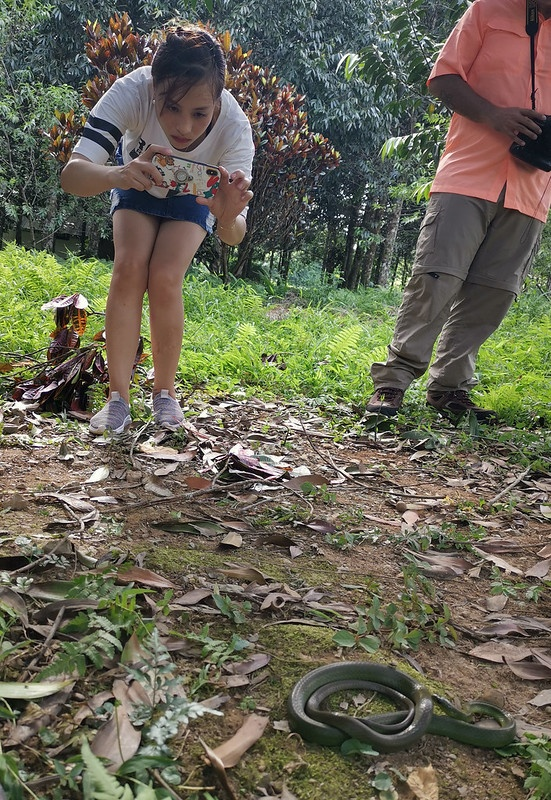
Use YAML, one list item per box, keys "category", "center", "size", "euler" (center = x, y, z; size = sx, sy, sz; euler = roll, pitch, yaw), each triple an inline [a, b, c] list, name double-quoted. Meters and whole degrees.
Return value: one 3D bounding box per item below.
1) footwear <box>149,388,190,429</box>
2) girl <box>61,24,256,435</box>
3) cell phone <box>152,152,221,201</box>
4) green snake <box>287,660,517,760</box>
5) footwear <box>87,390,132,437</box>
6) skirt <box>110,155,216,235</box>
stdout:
- category: "footwear"
  center: [-0.479, 0.041, 2.810]
  size: [0.093, 0.090, 0.229]
  euler: [-6, 23, -11]
- category: "girl"
  center: [-0.485, -0.650, 2.771]
  size: [0.744, 1.533, 0.816]
  euler: [7, 8, 25]
- category: "cell phone"
  center: [-0.348, -0.863, 2.445]
  size: [0.242, 0.113, 0.049]
  euler: [4, 31, -21]
- category: "green snake"
  center: [0.249, 0.639, 1.320]
  size: [0.474, 0.095, 0.209]
  euler: [8, 10, -17]
- category: "footwear"
  center: [-0.687, 0.065, 2.664]
  size: [0.101, 0.110, 0.250]
  euler: [6, 10, 2]
- category: "skirt"
  center: [-0.582, -0.883, 2.683]
  size: [0.594, 0.319, 0.125]
  euler: [-10, 4, -12]
